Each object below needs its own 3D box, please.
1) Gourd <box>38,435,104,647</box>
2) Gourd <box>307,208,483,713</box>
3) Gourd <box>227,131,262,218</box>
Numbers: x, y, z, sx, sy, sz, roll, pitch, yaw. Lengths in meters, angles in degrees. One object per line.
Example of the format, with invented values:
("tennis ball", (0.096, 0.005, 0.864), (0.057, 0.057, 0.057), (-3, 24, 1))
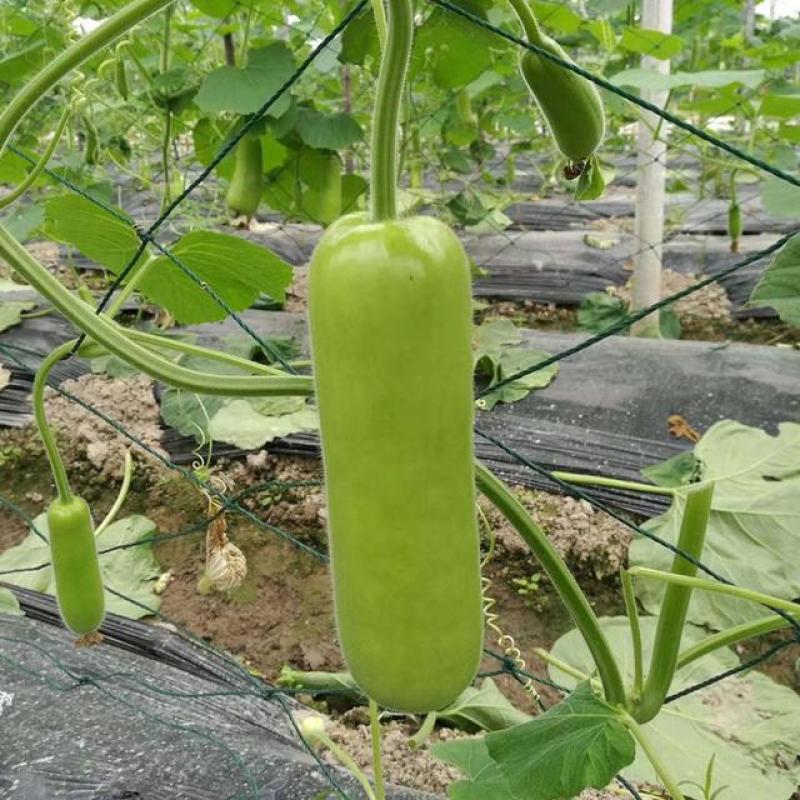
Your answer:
("Gourd", (-0.481, 0.213, 1.243), (0.086, 0.301, 0.074), (-8, 6, 3))
("Gourd", (-0.005, 0.067, 0.811), (0.140, 0.488, 0.156), (-5, 18, -24))
("Gourd", (-0.409, -0.570, 2.145), (0.092, 0.220, 0.207), (0, 14, -10))
